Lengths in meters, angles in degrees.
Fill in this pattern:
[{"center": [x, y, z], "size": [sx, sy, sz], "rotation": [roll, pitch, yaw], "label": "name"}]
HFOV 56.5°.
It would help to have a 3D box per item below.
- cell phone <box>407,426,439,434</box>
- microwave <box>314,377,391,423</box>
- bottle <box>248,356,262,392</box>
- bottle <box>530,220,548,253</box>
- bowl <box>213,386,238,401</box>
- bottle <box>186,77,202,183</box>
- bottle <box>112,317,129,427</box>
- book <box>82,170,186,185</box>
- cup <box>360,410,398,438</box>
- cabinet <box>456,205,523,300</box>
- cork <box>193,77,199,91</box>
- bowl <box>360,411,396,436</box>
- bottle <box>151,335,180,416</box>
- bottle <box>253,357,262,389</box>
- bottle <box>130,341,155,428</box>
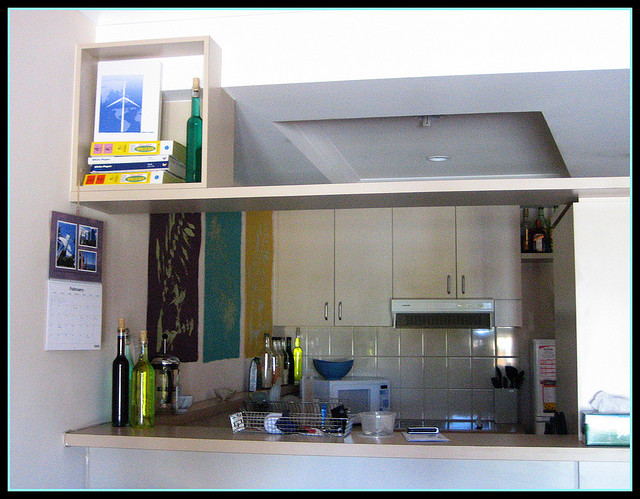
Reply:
[{"center": [0.371, 0.657, 2.155], "size": [0.110, 0.017, 0.068], "rotation": [-1, 1, 3], "label": "cell phone"}, {"center": [0.416, 1.230, 4.888], "size": [0.527, 0.333, 0.373], "rotation": [-6, -11, 30], "label": "microwave"}, {"center": [-0.438, 0.839, 4.038], "size": [0.088, 0.218, 0.305], "rotation": [-1, 1, -6], "label": "bottle"}, {"center": [1.778, -0.077, 4.843], "size": [0.134, 0.198, 0.092], "rotation": [0, 1, 15], "label": "bottle"}, {"center": [-0.534, 0.815, 3.369], "size": [0.108, 0.054, 0.109], "rotation": [1, -9, 0], "label": "bowl"}, {"center": [-0.477, -0.423, 2.256], "size": [0.057, 0.333, 0.052], "rotation": [0, 2, 21], "label": "bottle"}, {"center": [-0.753, 0.464, 2.249], "size": [0.061, 0.402, 0.037], "rotation": [-1, 2, -16], "label": "bottle"}, {"center": [-0.679, -0.263, 2.184], "size": [0.361, 0.053, 0.136], "rotation": [-1, 1, -17], "label": "book"}, {"center": [0.211, 0.618, 2.123], "size": [0.101, 0.047, 0.094], "rotation": [1, -12, 0], "label": "cup"}, {"center": [1.417, 0.002, 4.967], "size": [0.516, 0.750, 0.396], "rotation": [1, 7, 28], "label": "cabinet"}, {"center": [-0.454, -0.608, 2.185], "size": [0.021, 0.046, 0.033], "rotation": [-1, 1, -12], "label": "cork"}, {"center": [0.209, 0.615, 2.113], "size": [0.097, 0.048, 0.097], "rotation": [1, -14, 0], "label": "bowl"}, {"center": [-0.680, 0.611, 2.634], "size": [0.118, 0.298, 0.255], "rotation": [-1, 1, -15], "label": "bottle"}, {"center": [-0.422, 0.837, 4.092], "size": [0.048, 0.217, 0.183], "rotation": [-1, 1, -5], "label": "bottle"}, {"center": [-0.678, 0.509, 2.268], "size": [0.083, 0.317, 0.086], "rotation": [-1, 1, 0], "label": "bottle"}]
